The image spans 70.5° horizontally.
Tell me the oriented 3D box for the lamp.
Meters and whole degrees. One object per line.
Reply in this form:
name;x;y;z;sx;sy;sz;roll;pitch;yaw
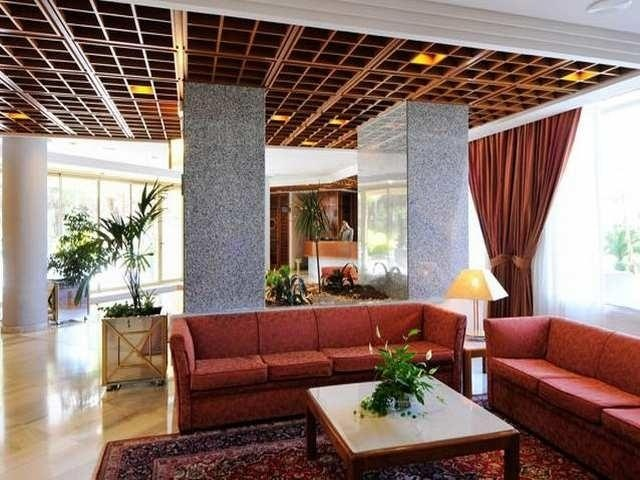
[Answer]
lamp;1.802;0.756;5.246;0.754;0.771;0.702;2;-4;-6

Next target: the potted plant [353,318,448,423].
potted plant;0.642;1.176;4.009;0.640;0.830;0.859;1;-9;3
